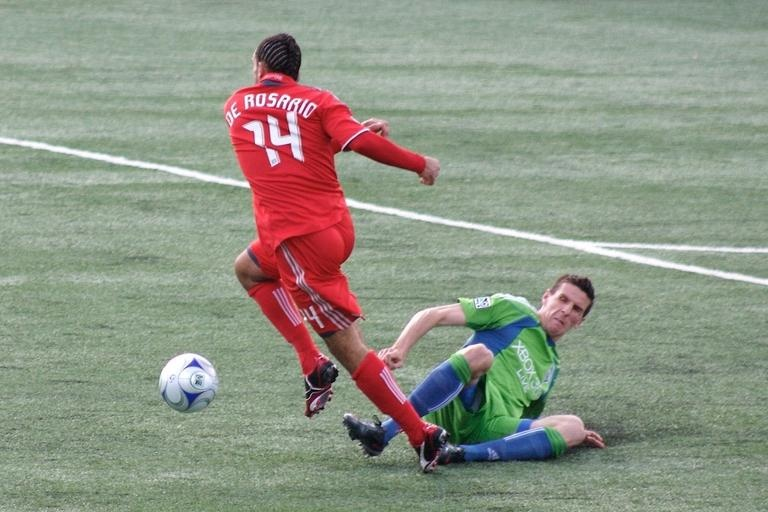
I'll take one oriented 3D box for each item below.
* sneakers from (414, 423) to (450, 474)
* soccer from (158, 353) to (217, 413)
[{"bbox_3d":[0.423,1.773,15.938,0.297,0.512,0.191,22,28,1],"label":"sneakers"},{"bbox_3d":[-1.862,1.250,16.370,0.655,0.509,0.491,2,30,7],"label":"soccer"}]
